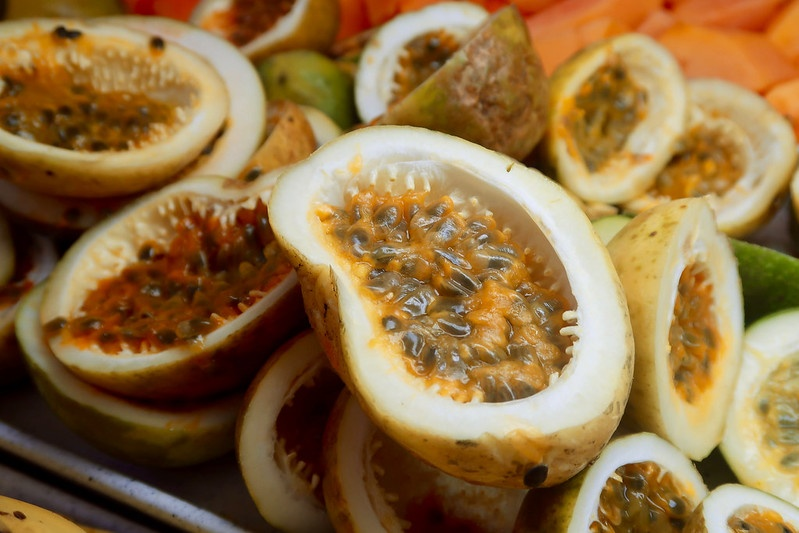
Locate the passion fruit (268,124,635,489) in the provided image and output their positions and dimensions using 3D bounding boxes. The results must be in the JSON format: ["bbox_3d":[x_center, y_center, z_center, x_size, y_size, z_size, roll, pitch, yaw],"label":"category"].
[{"bbox_3d":[0.052,0.079,1.217,0.403,0.196,0.522,-19,77,-21],"label":"passion fruit"}]

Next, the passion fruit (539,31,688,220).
[{"bbox_3d":[0.367,-0.222,1.450,0.232,0.166,0.281,15,98,21],"label":"passion fruit"}]

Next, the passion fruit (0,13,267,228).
[{"bbox_3d":[-0.371,-0.160,1.372,0.340,0.131,0.359,39,75,25],"label":"passion fruit"}]
